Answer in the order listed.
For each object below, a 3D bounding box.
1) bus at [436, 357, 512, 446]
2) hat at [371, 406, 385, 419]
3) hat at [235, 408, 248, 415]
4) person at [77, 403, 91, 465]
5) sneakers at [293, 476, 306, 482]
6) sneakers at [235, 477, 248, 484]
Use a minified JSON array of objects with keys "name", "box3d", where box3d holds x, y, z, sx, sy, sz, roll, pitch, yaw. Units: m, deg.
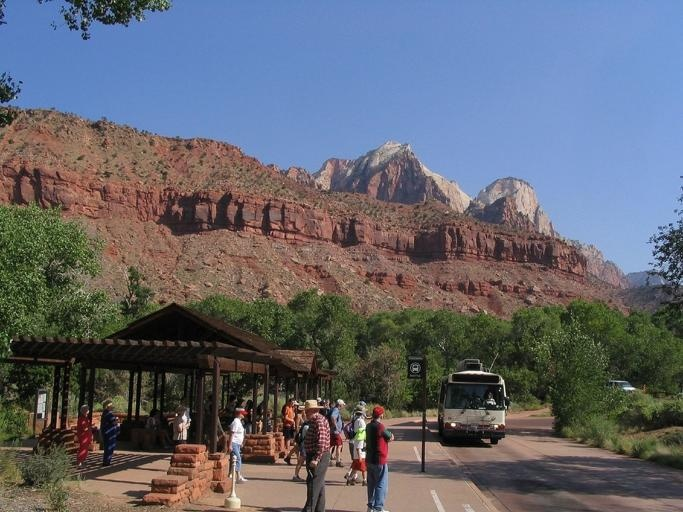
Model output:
[{"name":"bus","box3d":[6.007,6.801,30.118,1.941,2.638,5.938,0,-15,4]},{"name":"hat","box3d":[0.972,4.069,17.214,0.319,0.444,0.442,1,11,10]},{"name":"hat","box3d":[-2.984,4.612,19.496,0.384,0.212,0.591,6,-9,3]},{"name":"person","box3d":[-8.163,5.694,20.903,0.404,1.842,1.000,4,-15,-22]},{"name":"sneakers","box3d":[-1.298,6.875,20.267,0.450,0.201,0.153,5,-4,-32]},{"name":"sneakers","box3d":[-2.932,6.661,19.590,0.144,0.153,0.331,1,-5,14]}]
